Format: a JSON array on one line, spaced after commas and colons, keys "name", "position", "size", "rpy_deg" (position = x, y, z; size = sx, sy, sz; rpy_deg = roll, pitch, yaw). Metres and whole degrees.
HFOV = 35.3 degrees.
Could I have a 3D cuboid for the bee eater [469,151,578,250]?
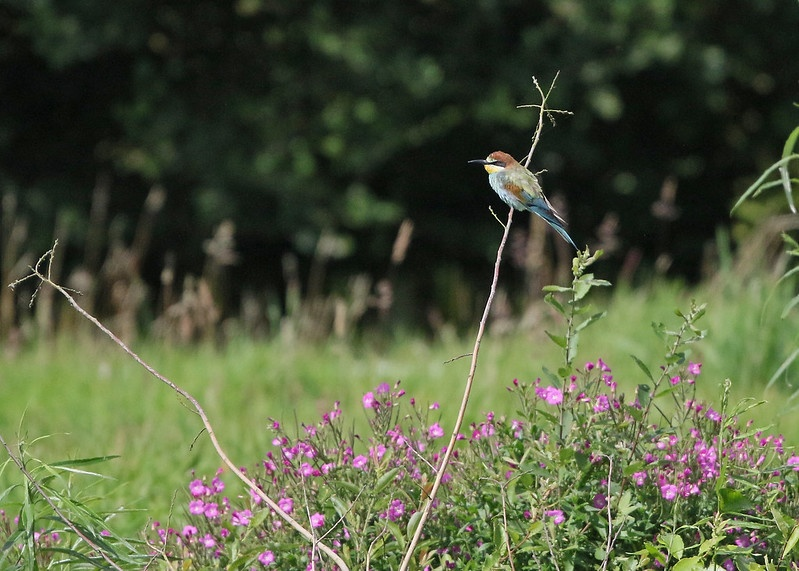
[{"name": "bee eater", "position": [0.875, -0.635, 8.840], "size": [0.567, 0.779, 0.398], "rpy_deg": [12, -31, -42]}]
